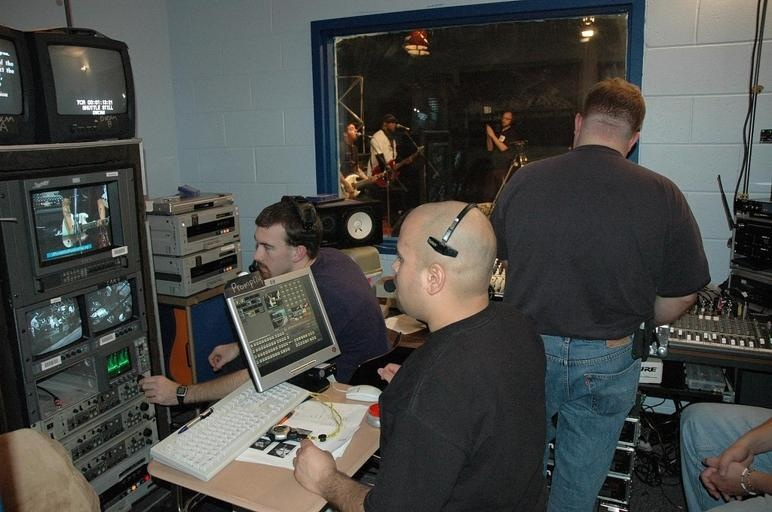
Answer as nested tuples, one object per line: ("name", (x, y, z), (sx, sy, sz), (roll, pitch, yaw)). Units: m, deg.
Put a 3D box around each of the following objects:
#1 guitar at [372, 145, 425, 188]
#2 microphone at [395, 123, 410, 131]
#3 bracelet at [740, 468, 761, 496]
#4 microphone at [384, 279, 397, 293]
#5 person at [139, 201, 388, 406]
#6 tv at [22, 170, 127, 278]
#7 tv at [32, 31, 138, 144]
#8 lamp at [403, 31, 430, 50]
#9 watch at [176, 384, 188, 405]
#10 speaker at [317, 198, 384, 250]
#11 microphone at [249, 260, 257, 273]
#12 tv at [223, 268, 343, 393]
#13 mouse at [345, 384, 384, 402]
("guitar", (0.115, -0.726, 4.686), (0.332, 0.131, 0.050), (-26, 23, 15))
("microphone", (0.136, -1.014, 4.623), (0.110, 0.054, 0.005), (3, 16, 21))
("bracelet", (1.733, 1.077, 2.819), (0.085, 0.132, 0.048), (8, 19, 36))
("microphone", (0.020, 0.141, 2.874), (0.090, 0.087, 0.022), (-3, -3, 24))
("person", (-0.515, 0.144, 3.401), (1.344, 1.148, 0.919), (3, 11, -3))
("tv", (-1.565, -0.197, 3.005), (0.074, 0.403, 0.481), (8, 19, 35))
("tv", (-1.576, -0.891, 3.109), (0.204, 0.558, 0.531), (3, 17, 23))
("lamp", (0.247, -1.631, 4.458), (0.136, 0.090, 0.131), (20, 26, 40))
("watch", (-1.020, 0.697, 2.998), (0.060, 0.105, 0.101), (-4, -29, -7))
("speaker", (-0.231, -0.223, 3.943), (0.284, 0.383, 0.546), (5, 9, 43))
("microphone", (-0.837, 0.060, 3.725), (0.030, 0.076, 0.075), (15, 9, -19))
("tv", (-0.459, 0.351, 2.805), (0.200, 0.492, 0.501), (0, 15, 45))
("mouse", (-0.098, 0.640, 2.793), (0.175, 0.048, 0.105), (7, 13, 13))
